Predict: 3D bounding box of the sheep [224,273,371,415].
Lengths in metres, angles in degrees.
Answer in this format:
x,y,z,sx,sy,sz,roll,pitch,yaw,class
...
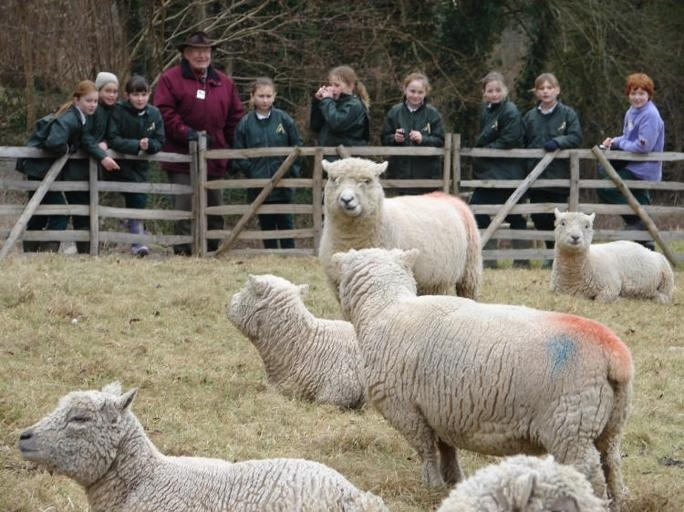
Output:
x,y,z,sx,sy,sz,roll,pitch,yaw,class
-0.602,1.325,22.690,2.453,2.194,1.310,17,10,21,sheep

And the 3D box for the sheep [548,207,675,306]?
x,y,z,sx,sy,sz,roll,pitch,yaw,class
4.749,-0.045,26.315,1.883,1.505,1.489,4,-5,-14,sheep

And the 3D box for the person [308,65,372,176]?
x,y,z,sx,sy,sz,roll,pitch,yaw,class
0.154,-2.783,27.466,1.108,2.263,1.324,9,14,40,person

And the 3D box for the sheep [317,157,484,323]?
x,y,z,sx,sy,sz,roll,pitch,yaw,class
0.936,0.011,24.081,1.682,3.442,3.565,1,6,41,sheep

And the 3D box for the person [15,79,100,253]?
x,y,z,sx,sy,sz,roll,pitch,yaw,class
-5.268,-1.751,27.226,1.107,3.396,0.978,-5,31,-24,person
